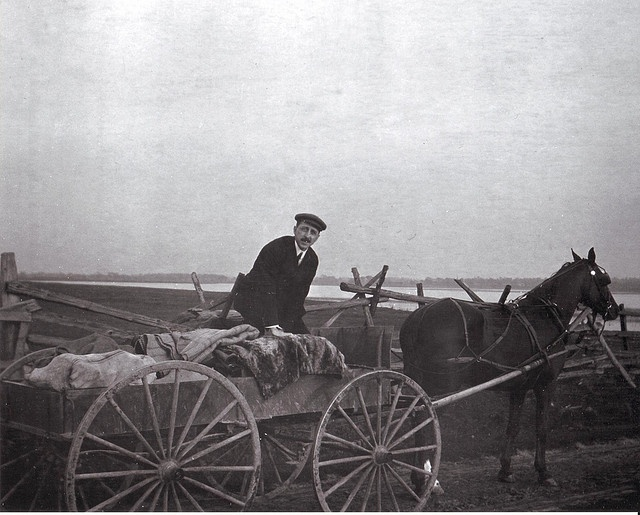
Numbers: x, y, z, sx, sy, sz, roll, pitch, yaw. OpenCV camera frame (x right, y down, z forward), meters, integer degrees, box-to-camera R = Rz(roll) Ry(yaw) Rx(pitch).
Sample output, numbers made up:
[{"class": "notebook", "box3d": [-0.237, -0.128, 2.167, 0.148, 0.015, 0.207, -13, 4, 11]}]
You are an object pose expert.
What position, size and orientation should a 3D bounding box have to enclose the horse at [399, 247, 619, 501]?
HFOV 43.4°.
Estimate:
[{"class": "horse", "box3d": [2.086, 1.193, 8.615, 2.874, 2.374, 0.951, -3, -3, -18]}]
